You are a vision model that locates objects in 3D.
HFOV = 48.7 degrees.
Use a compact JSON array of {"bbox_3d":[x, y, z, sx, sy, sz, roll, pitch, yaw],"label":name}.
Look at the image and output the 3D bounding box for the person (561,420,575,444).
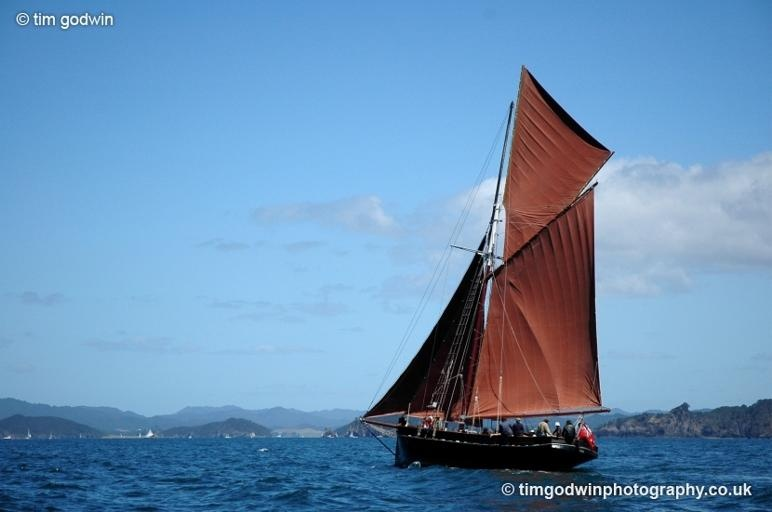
[{"bbox_3d":[16.755,16.117,77.454,1.369,2.106,0.864,3,-17,-2],"label":"person"}]
